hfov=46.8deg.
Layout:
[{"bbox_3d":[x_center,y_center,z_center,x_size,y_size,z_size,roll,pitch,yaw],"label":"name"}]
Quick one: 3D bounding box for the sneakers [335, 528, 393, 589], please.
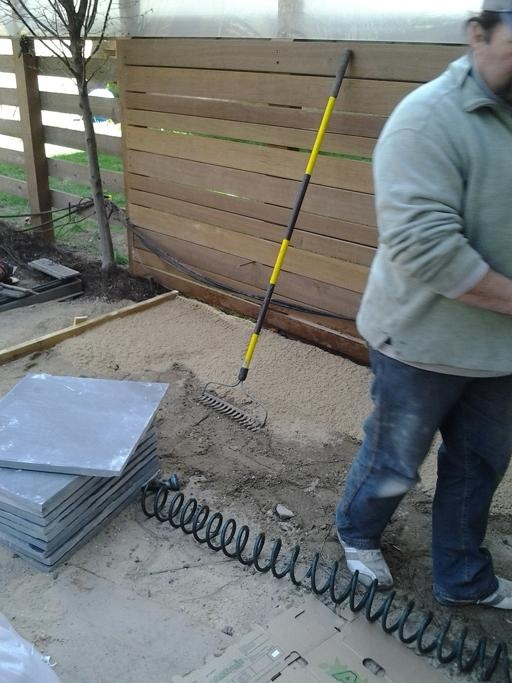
[{"bbox_3d":[0.352,0.747,2.061,0.087,0.093,0.238,-5,19,-38],"label":"sneakers"}]
